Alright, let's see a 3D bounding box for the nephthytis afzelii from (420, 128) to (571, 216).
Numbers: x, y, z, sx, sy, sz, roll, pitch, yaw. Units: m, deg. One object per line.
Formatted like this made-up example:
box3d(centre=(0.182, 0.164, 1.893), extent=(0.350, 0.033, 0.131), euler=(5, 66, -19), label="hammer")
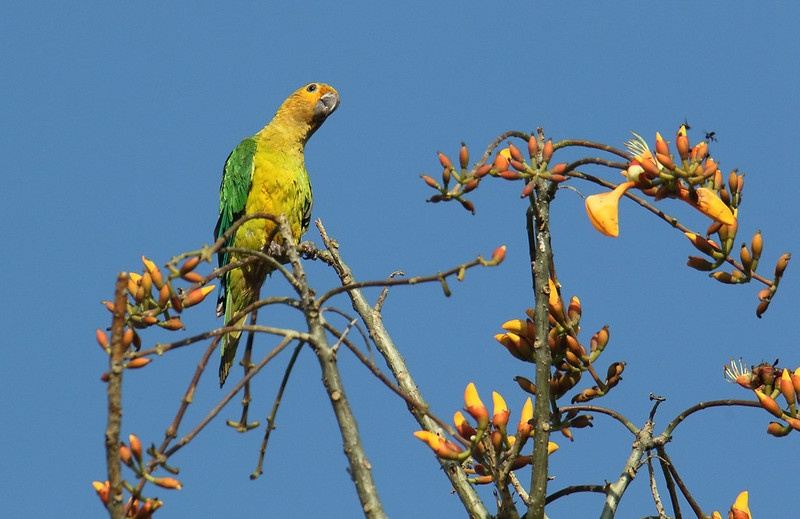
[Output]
box3d(centre=(0.479, -0.652, 9.801), extent=(0.876, 0.555, 0.428), euler=(-16, -91, -12), label="nephthytis afzelii")
